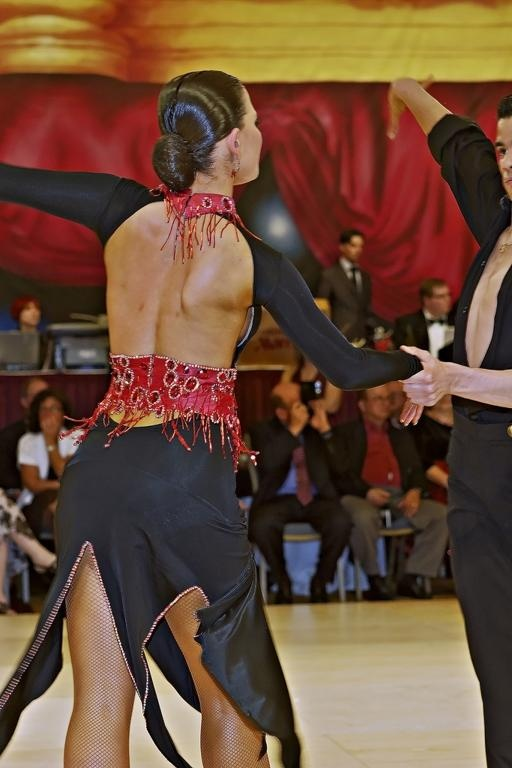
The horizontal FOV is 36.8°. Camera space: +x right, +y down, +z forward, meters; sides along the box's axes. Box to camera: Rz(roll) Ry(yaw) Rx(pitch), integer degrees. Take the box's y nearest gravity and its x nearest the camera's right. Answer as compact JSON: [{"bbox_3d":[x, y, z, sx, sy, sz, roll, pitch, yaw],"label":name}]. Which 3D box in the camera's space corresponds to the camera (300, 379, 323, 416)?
[{"bbox_3d":[0.289,0.067,4.263,0.065,0.162,0.130,-19,-22,37],"label":"camera"}]
